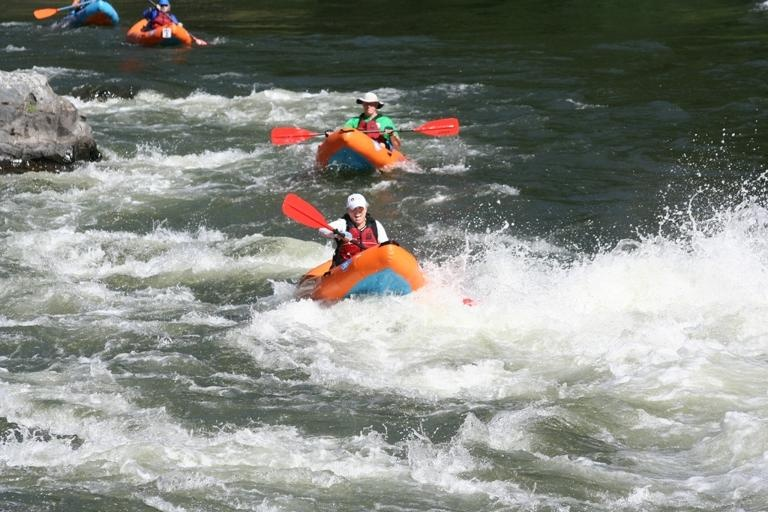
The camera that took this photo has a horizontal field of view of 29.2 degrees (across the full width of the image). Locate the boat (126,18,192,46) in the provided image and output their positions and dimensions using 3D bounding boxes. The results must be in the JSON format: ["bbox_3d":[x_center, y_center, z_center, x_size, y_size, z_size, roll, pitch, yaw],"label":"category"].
[{"bbox_3d":[-5.680,-5.537,36.984,1.401,0.565,0.796,11,17,35],"label":"boat"}]

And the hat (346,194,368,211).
[{"bbox_3d":[-0.478,-0.914,25.182,0.357,0.186,0.409,-2,5,-6],"label":"hat"}]

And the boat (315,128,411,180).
[{"bbox_3d":[-0.511,-2.045,28.733,1.640,0.887,0.579,1,17,-3],"label":"boat"}]
